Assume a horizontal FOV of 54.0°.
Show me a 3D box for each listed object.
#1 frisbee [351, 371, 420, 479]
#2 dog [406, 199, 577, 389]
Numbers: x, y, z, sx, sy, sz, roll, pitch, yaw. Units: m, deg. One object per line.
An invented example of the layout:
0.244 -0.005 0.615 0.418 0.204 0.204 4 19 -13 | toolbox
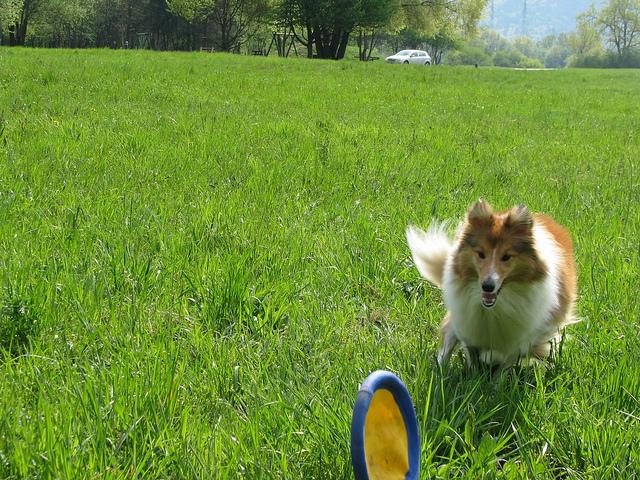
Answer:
0.391 1.074 3.584 0.568 0.650 0.180 -6 15 -39 | frisbee
1.427 0.322 4.972 0.920 1.113 1.309 1 16 29 | dog
